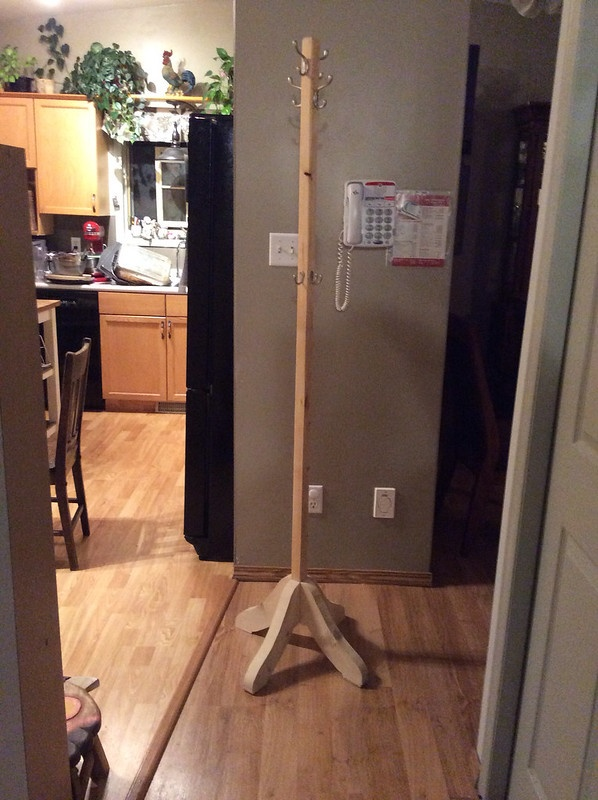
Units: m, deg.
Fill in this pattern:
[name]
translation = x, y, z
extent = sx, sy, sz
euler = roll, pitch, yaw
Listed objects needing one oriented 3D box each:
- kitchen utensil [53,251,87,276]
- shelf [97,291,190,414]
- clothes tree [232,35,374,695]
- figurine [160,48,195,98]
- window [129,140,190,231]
[kitchen utensil]
translation = -1.692, -0.993, 4.706
extent = 0.153, 0.161, 0.235
euler = 1, 2, -8
[shelf]
translation = -1.060, -0.483, 4.800
extent = 0.857, 1.038, 0.522
euler = -2, 28, -26
[clothes tree]
translation = 0.029, -0.048, 1.779
extent = 0.354, 1.736, 0.320
euler = 1, 10, 7
[figurine]
translation = -0.883, -2.374, 4.633
extent = 0.300, 0.403, 0.189
euler = -7, 33, -20
[window]
translation = -1.091, -1.688, 4.997
extent = 0.488, 0.688, 0.057
euler = -1, 41, -12
